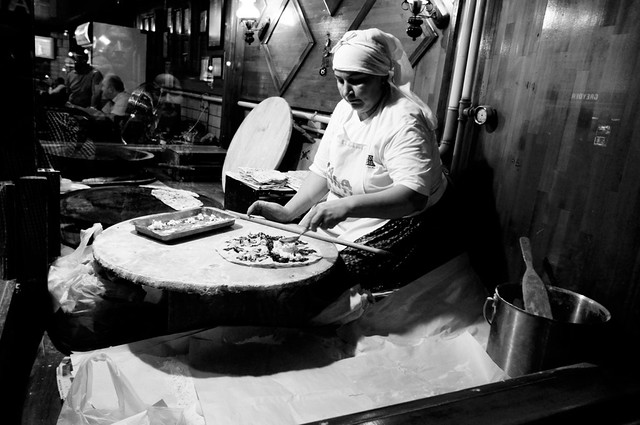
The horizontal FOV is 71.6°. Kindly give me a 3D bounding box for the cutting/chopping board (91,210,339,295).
[{"bbox_3d":[-0.695,0.269,2.801,1.527,0.173,0.705,9,18,0],"label":"cutting/chopping board"}]

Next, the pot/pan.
[{"bbox_3d":[1.268,0.724,2.865,0.483,0.329,0.595,0,11,-22],"label":"pot/pan"}]

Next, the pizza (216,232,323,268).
[{"bbox_3d":[-0.364,0.252,2.859,0.317,0.036,0.324,-12,24,-37],"label":"pizza"}]

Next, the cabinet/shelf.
[{"bbox_3d":[-0.655,-0.268,4.784,0.577,0.378,0.577,5,6,-18],"label":"cabinet/shelf"}]
